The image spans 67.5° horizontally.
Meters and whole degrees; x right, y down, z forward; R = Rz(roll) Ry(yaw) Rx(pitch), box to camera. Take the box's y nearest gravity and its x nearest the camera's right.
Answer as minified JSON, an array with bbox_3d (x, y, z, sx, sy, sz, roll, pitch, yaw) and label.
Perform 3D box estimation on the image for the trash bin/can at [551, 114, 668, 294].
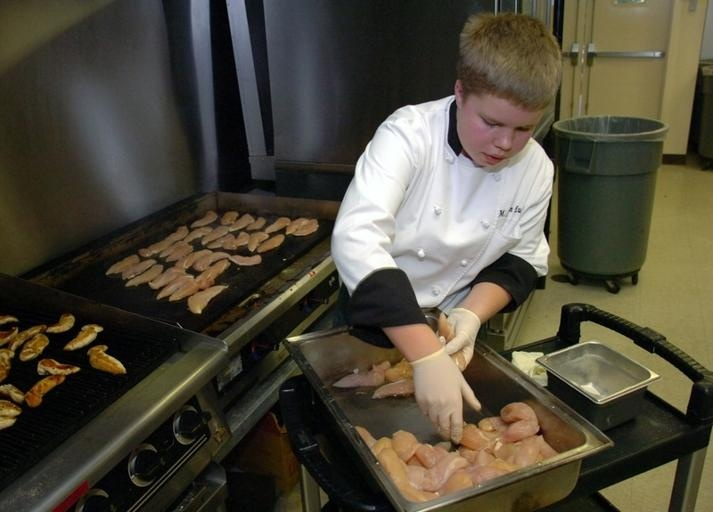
[{"bbox_3d":[1.595,-0.348,3.543,0.672,1.029,0.288,14,33,26],"label":"trash bin/can"}]
